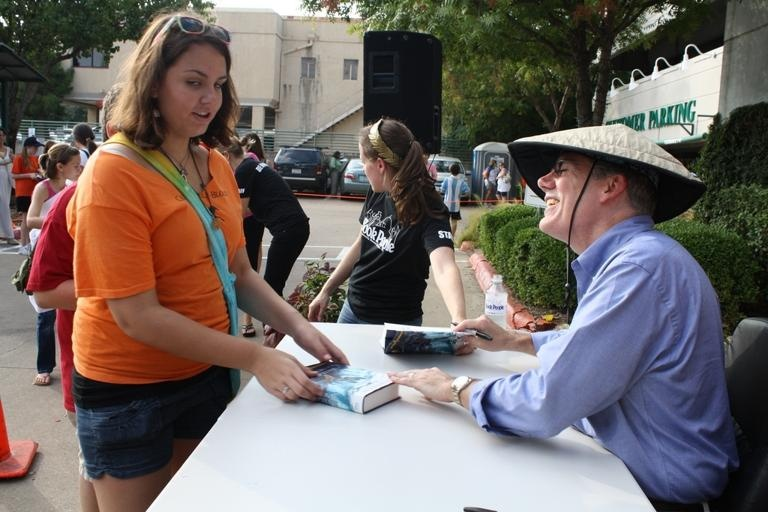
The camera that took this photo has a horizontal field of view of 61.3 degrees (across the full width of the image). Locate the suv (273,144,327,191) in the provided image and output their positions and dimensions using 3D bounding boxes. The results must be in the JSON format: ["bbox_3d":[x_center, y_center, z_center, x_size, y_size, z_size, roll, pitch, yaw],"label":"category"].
[{"bbox_3d":[-2.958,-3.039,24.275,1.809,1.719,3.840,2,15,5],"label":"suv"}]

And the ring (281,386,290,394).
[{"bbox_3d":[-0.474,0.640,3.100,0.033,0.036,0.008,13,8,24],"label":"ring"}]

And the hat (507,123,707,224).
[{"bbox_3d":[1.130,-0.485,3.459,0.738,0.300,0.761,23,-7,2],"label":"hat"}]

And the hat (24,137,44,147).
[{"bbox_3d":[-6.388,-2.067,11.749,0.292,0.173,0.202,-8,10,-27],"label":"hat"}]

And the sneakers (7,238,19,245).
[{"bbox_3d":[-7.166,-0.287,12.381,0.285,0.134,0.100,-4,4,-9],"label":"sneakers"}]

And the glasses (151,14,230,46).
[{"bbox_3d":[-0.924,-1.082,3.118,0.360,0.156,0.140,0,5,-26],"label":"glasses"}]
